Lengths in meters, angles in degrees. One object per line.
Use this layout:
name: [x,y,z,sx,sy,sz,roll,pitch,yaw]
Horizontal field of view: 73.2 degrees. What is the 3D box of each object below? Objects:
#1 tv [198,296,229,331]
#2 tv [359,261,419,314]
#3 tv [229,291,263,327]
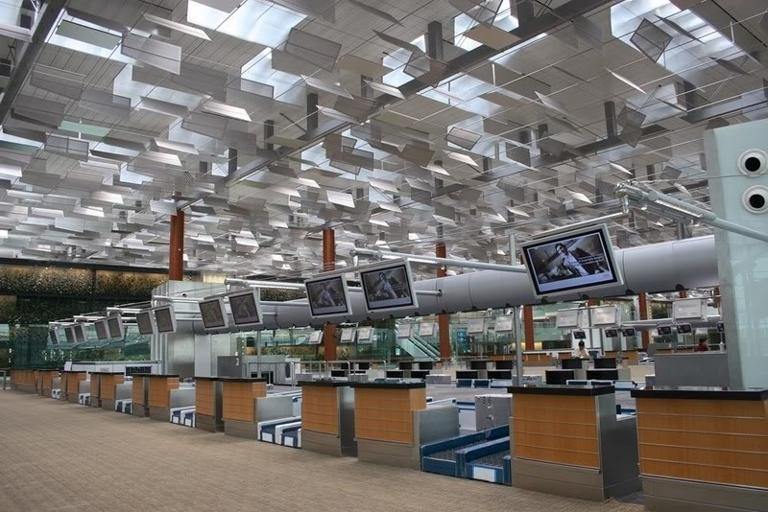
tv: [-6.598,2.224,20.039,1.999,1.545,0.618,-14,-10,42]
tv: [0.098,0.894,14.063,1.997,1.191,0.276,-18,-1,43]
tv: [-4.816,1.840,17.906,1.806,1.256,0.551,-19,-10,41]
